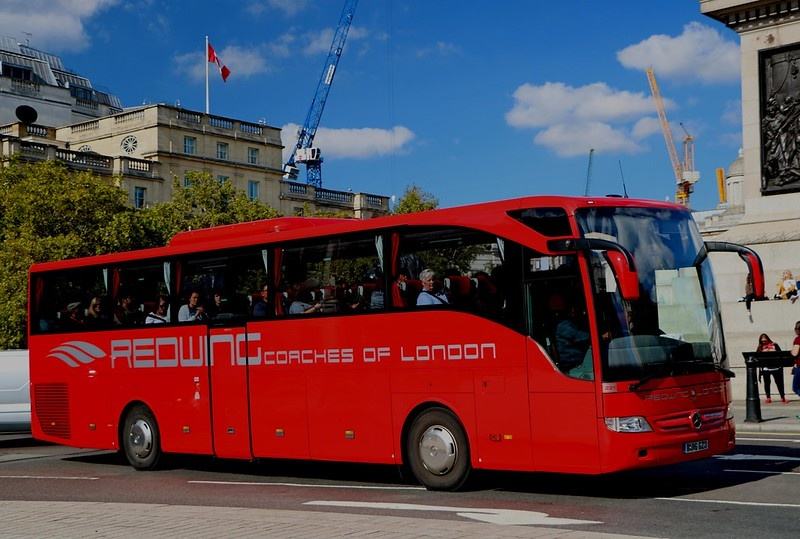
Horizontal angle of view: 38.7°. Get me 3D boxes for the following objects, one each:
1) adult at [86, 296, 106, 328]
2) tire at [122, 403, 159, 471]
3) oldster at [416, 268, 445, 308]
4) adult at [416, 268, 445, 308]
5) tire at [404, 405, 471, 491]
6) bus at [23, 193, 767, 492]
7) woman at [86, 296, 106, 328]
[{"bbox_3d":[-7.000,1.030,26.322,0.501,0.694,0.702,2,-39,-21],"label":"adult"},{"bbox_3d":[-5.768,3.742,25.672,1.440,1.640,0.283,4,2,38],"label":"tire"},{"bbox_3d":[0.610,0.369,21.868,0.606,0.686,0.365,-4,-20,-8],"label":"oldster"},{"bbox_3d":[0.610,0.369,21.868,0.606,0.686,0.365,-4,-20,-8],"label":"adult"},{"bbox_3d":[0.768,3.360,21.707,1.637,1.894,0.358,0,2,39],"label":"tire"},{"bbox_3d":[-2.477,1.443,25.605,17.808,5.597,5.699,-6,-7,41],"label":"bus"},{"bbox_3d":[-6.985,1.033,26.302,0.501,0.694,0.702,2,-39,-21],"label":"woman"}]
